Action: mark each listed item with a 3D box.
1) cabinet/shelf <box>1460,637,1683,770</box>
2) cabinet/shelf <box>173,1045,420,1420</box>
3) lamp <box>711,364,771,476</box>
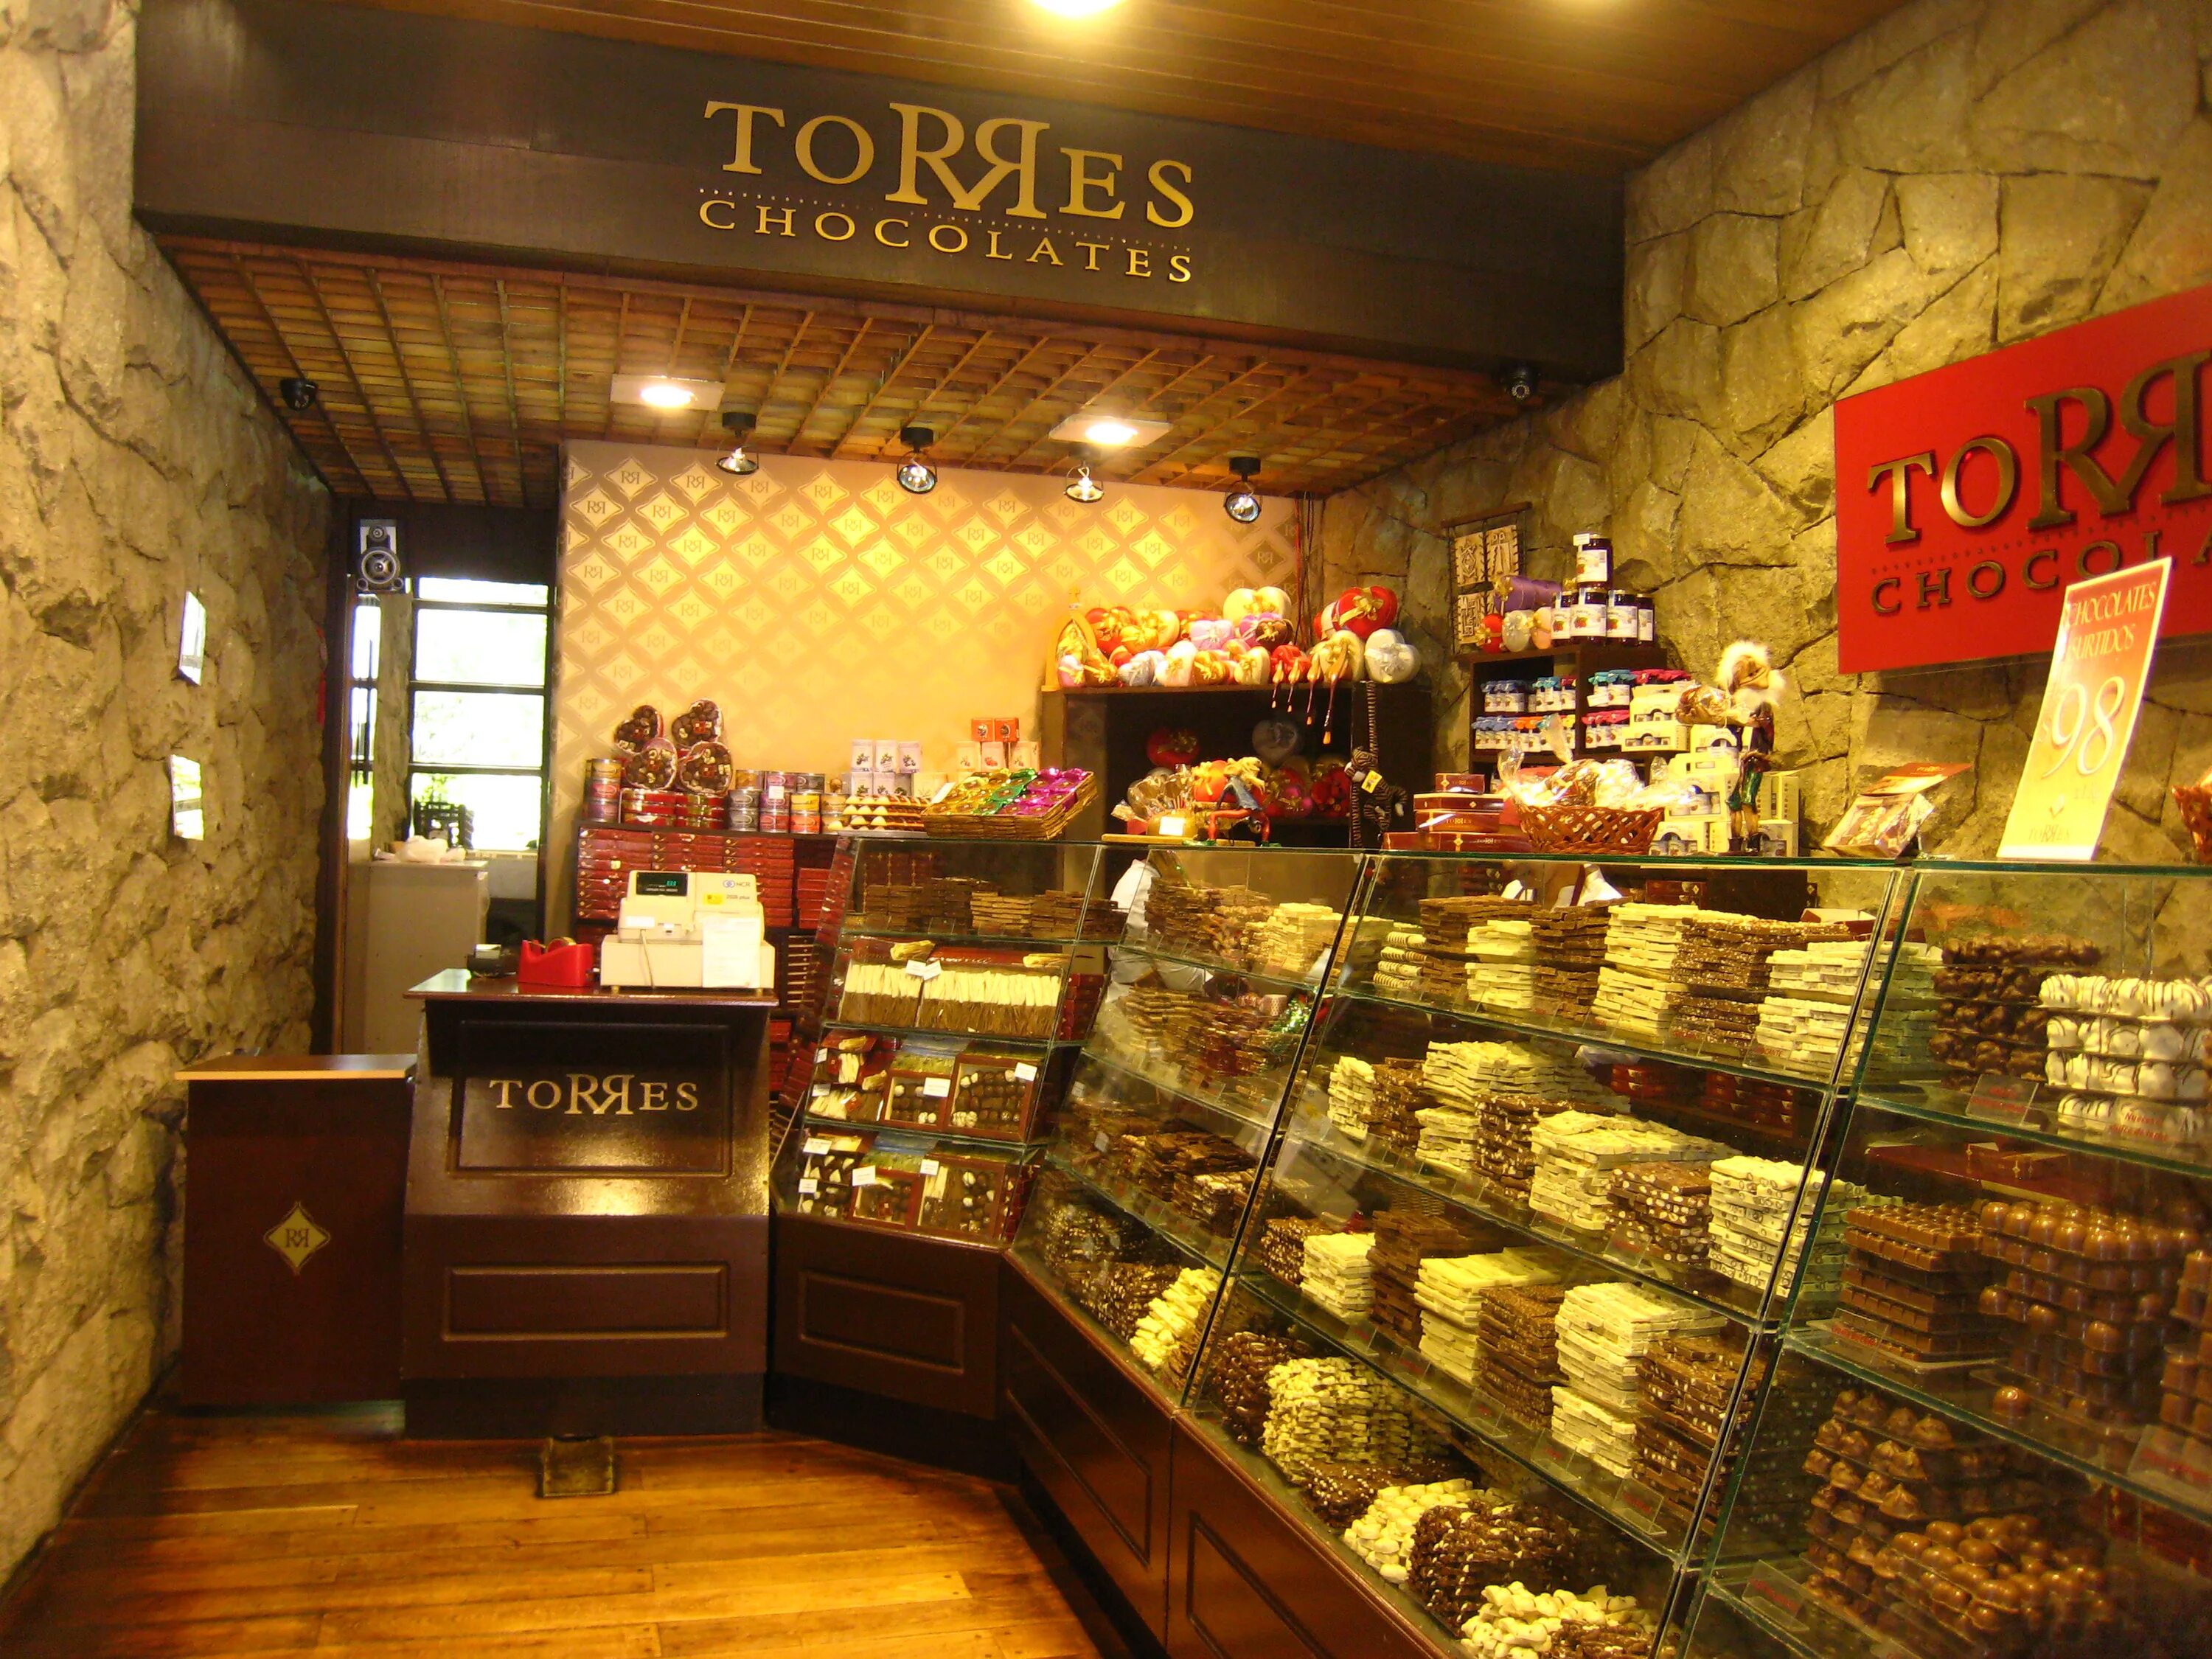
[{"bbox_3d":[1.446,-0.394,5.001,0.342,0.536,0.596,1,-1,-12],"label":"cabinet/shelf"},{"bbox_3d":[-2.224,1.121,4.517,0.566,0.898,0.223,1,5,-21],"label":"cabinet/shelf"},{"bbox_3d":[-1.462,-1.601,6.587,0.258,0.422,0.243,2,3,-6],"label":"lamp"}]
